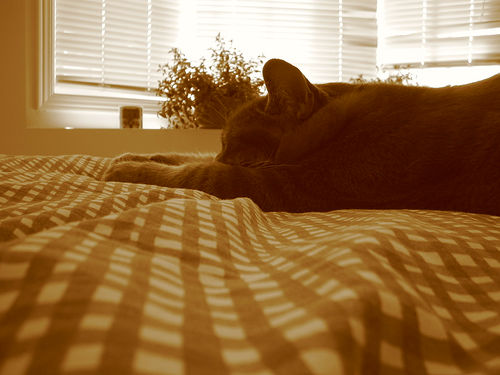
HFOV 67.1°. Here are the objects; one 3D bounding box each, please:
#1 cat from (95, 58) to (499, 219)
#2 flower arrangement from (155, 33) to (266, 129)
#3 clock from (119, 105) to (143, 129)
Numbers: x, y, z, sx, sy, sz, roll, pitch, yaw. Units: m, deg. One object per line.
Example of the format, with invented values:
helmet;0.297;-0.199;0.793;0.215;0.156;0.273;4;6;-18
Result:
cat;0.059;-0.081;0.883;0.822;0.293;0.377;1;-3;16
flower arrangement;-0.137;-0.470;1.880;0.356;0.276;0.368;2;-10;17
clock;-0.576;-0.332;1.867;0.116;0.172;0.119;2;4;-12
